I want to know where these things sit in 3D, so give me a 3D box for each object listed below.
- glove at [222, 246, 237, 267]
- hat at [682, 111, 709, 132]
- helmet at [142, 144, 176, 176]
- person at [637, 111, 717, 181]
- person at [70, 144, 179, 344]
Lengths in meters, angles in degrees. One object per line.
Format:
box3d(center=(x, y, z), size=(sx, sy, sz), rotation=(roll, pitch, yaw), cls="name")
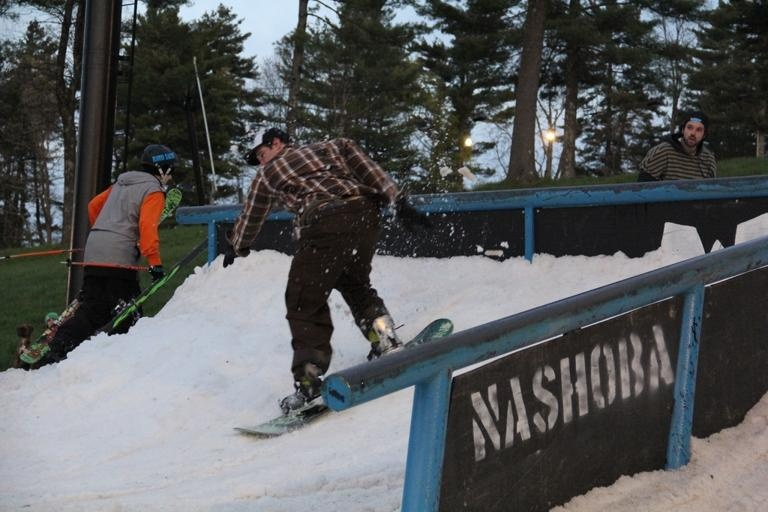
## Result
box3d(center=(-1.897, 0.019, 10.037), size=(0.132, 0.268, 0.075), rotation=(22, 4, -9), cls="glove")
box3d(center=(3.842, -1.691, 10.039), size=(0.216, 0.189, 0.236), rotation=(11, -7, 20), cls="hat")
box3d(center=(-2.976, -1.311, 10.864), size=(0.405, 0.427, 0.338), rotation=(-17, 29, -13), cls="helmet")
box3d(center=(3.662, -1.369, 10.162), size=(0.922, 0.855, 0.595), rotation=(0, 2, 16), cls="person")
box3d(center=(-3.454, -0.148, 10.741), size=(1.265, 2.615, 0.616), rotation=(-1, 2, 10), cls="person")
